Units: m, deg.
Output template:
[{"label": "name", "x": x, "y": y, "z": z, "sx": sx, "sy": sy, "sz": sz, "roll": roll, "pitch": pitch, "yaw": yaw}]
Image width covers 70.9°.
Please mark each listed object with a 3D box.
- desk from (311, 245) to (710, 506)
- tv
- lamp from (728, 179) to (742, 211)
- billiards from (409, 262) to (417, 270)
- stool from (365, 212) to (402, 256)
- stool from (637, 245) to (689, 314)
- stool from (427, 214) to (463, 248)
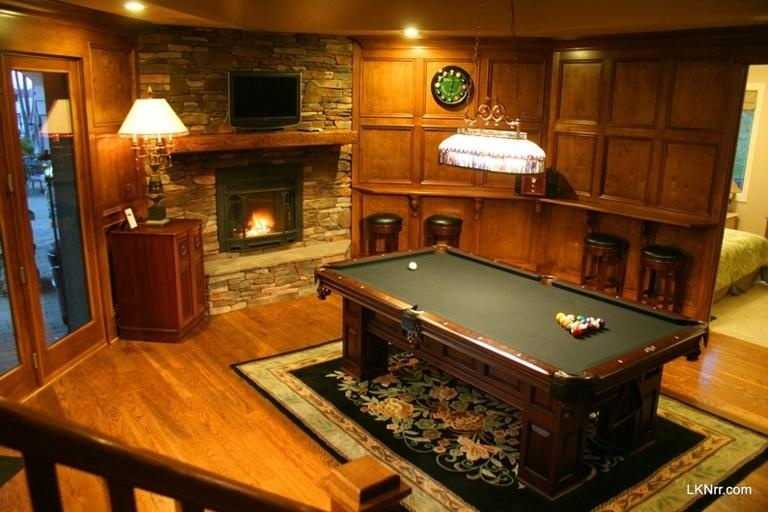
[{"label": "desk", "x": 0.970, "y": 0.848, "z": 5.113, "sx": 1.866, "sy": 0.886, "sz": 3.085, "roll": -9, "pitch": 18, "yaw": -38}, {"label": "tv", "x": -1.658, "y": -2.145, "z": 7.393, "sx": 0.124, "sy": 0.762, "sz": 1.220, "roll": 24, "pitch": 28, "yaw": 34}, {"label": "lamp", "x": 6.135, "y": -1.050, "z": 9.491, "sx": 0.147, "sy": 0.566, "sz": 0.272, "roll": 12, "pitch": 24, "yaw": 30}, {"label": "billiards", "x": 0.287, "y": 0.102, "z": 5.564, "sx": 0.084, "sy": 0.042, "sz": 0.073, "roll": 4, "pitch": 13, "yaw": -4}, {"label": "stool", "x": -0.065, "y": -0.301, "z": 8.253, "sx": 0.655, "sy": 0.558, "sz": 0.589, "roll": 5, "pitch": 7, "yaw": 20}, {"label": "stool", "x": 3.468, "y": 0.331, "z": 6.833, "sx": 0.564, "sy": 0.715, "sz": 0.516, "roll": 5, "pitch": 6, "yaw": 23}, {"label": "stool", "x": 0.893, "y": -0.298, "z": 8.302, "sx": 0.671, "sy": 0.617, "sz": 0.605, "roll": 3, "pitch": 8, "yaw": 7}]
